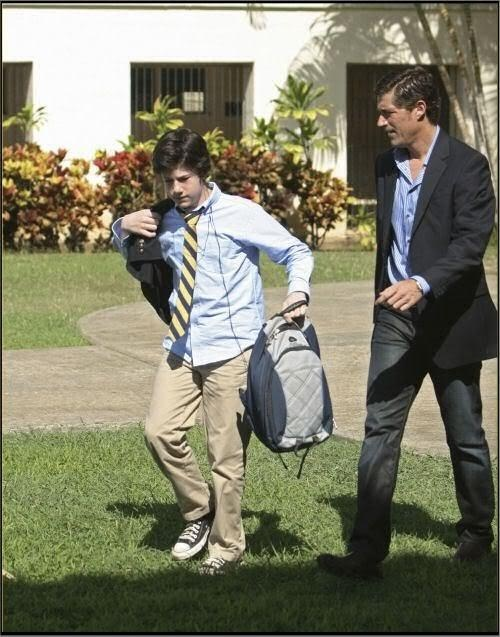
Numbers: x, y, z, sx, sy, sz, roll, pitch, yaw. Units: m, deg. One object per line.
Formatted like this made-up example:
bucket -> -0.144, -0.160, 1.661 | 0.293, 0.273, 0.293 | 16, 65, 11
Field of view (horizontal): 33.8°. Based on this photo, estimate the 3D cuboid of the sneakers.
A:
sneakers -> -0.220, 0.936, 3.442 | 0.176, 0.100, 0.278 | 2, 4, 15

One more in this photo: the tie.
tie -> -0.254, -0.148, 3.266 | 0.081, 0.579, 0.077 | 0, -7, 35

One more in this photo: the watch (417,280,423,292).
watch -> 0.619, -0.118, 3.011 | 0.007, 0.032, 0.032 | -19, -4, 5

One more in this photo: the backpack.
backpack -> 0.159, 0.246, 3.201 | 0.360, 0.487, 0.269 | -10, 9, -31

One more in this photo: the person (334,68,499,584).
person -> 0.691, 0.037, 3.298 | 0.698, 2.076, 0.618 | 0, 7, 5
